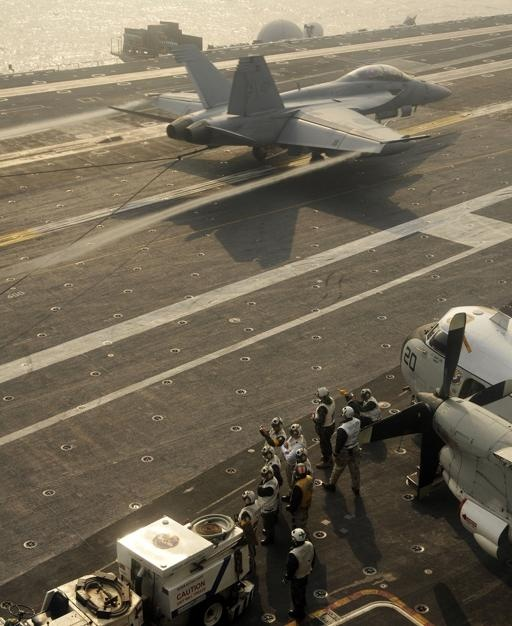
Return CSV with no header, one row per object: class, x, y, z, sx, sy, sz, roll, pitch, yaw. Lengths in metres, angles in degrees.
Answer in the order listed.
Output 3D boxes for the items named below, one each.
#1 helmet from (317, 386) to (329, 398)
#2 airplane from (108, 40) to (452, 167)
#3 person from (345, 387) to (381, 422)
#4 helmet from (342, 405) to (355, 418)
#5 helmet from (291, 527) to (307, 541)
helmet,1.726,2.056,17.519,0.402,0.265,0.258,-4,-3,2
airplane,1.179,-12.930,41.801,16.832,6.970,13.067,1,19,13
person,2.993,2.577,18.769,0.781,0.962,0.401,-21,38,28
helmet,2.249,2.409,16.500,0.250,0.252,0.334,-3,20,3
helmet,0.793,4.190,12.883,0.235,0.287,0.405,-7,20,-7
